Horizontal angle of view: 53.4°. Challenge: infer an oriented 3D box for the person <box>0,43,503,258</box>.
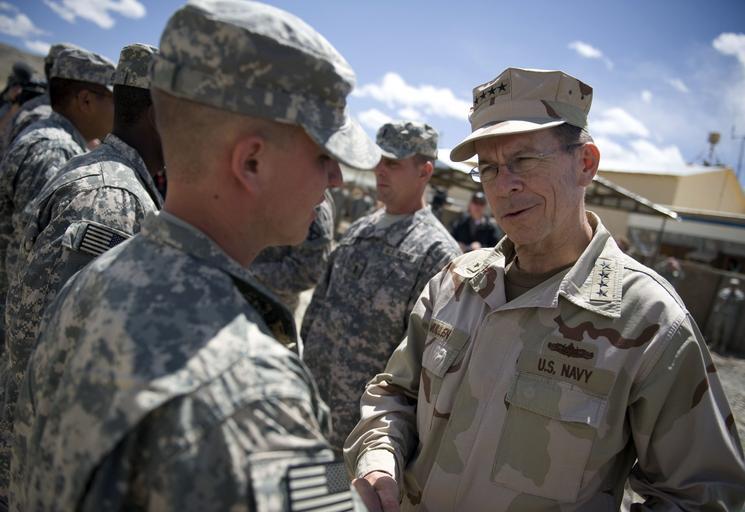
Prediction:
[{"bbox_3d":[-0.807,-0.504,3.963,1.734,0.569,1.308,29,-2,-29],"label":"person"}]
